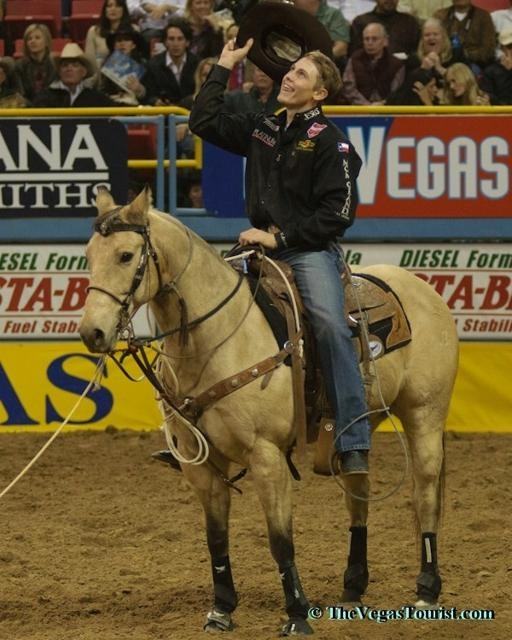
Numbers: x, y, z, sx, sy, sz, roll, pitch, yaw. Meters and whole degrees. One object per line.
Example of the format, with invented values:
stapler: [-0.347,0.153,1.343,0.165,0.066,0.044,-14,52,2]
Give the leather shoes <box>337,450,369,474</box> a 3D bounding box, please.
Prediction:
leather shoes: [0.526,0.758,5.936,0.129,0.143,0.160,-2,-5,5]

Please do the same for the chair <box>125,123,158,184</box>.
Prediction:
chair: [-1.028,-1.491,10.023,0.254,0.530,0.423,-2,10,-6]

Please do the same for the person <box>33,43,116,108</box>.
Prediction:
person: [-1.803,-2.425,11.031,0.770,0.630,0.462,1,10,5]

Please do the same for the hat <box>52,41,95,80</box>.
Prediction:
hat: [-1.811,-2.631,11.210,0.334,0.136,0.380,0,-20,0]

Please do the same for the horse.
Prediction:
horse: [0.076,0.623,6.600,3.383,2.415,1.055,-2,-1,-39]

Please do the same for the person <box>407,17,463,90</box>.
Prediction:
person: [1.732,-2.617,10.978,0.564,0.626,0.260,-3,-9,13]

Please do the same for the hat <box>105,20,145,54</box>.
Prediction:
hat: [-1.321,-2.919,11.466,0.394,0.150,0.399,-1,-23,7]

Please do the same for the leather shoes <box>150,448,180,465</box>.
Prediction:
leather shoes: [-0.510,0.792,6.293,0.141,0.077,0.167,13,-12,17]
